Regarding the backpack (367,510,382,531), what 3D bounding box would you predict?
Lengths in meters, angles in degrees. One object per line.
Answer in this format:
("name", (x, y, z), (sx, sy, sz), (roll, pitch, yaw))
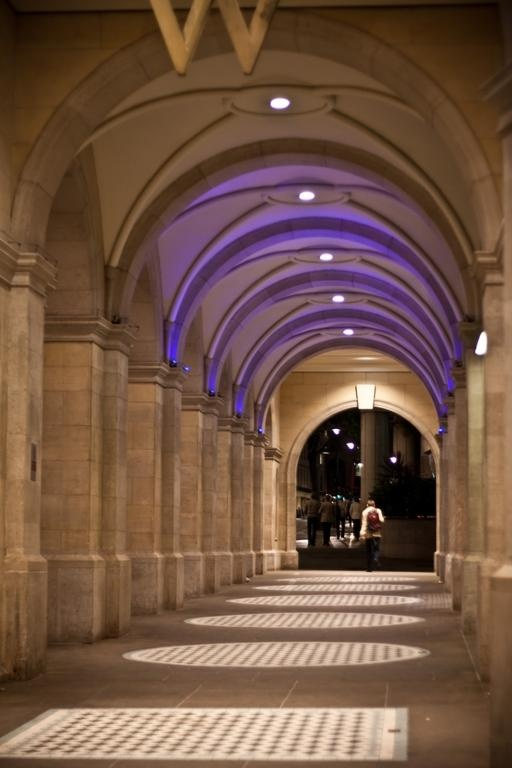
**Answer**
("backpack", (3.075, 3.612, 22.878), (0.363, 0.579, 0.596), (0, -10, 3))
